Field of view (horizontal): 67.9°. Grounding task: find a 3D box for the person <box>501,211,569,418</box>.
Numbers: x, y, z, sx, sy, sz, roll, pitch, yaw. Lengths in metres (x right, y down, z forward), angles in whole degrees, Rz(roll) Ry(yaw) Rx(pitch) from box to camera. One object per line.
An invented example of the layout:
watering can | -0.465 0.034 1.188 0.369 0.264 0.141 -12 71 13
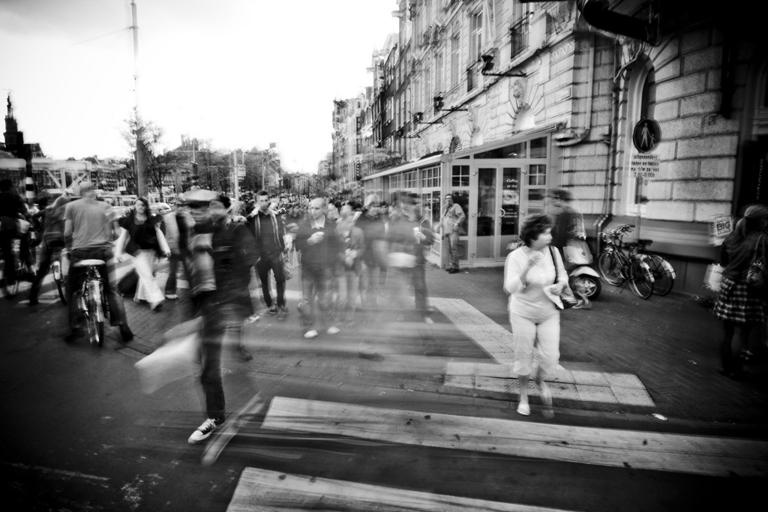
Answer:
person | 2.017 0.756 7.607 0.837 2.592 0.708 -11 14 -41

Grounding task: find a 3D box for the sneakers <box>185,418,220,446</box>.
sneakers | -2.272 2.201 7.191 0.166 0.178 0.489 32 28 16

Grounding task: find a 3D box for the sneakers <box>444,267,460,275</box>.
sneakers | 1.785 0.377 14.764 0.362 0.149 0.122 2 2 11

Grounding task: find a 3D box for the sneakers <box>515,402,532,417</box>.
sneakers | 1.848 2.022 7.524 0.116 0.094 0.221 -1 -5 0

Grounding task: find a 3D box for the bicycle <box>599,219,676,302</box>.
bicycle | 5.542 0.083 12.417 0.800 1.064 1.883 -14 17 -8

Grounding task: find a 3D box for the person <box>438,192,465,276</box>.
person | 1.797 -0.601 14.940 0.553 1.908 0.872 -3 10 -3
